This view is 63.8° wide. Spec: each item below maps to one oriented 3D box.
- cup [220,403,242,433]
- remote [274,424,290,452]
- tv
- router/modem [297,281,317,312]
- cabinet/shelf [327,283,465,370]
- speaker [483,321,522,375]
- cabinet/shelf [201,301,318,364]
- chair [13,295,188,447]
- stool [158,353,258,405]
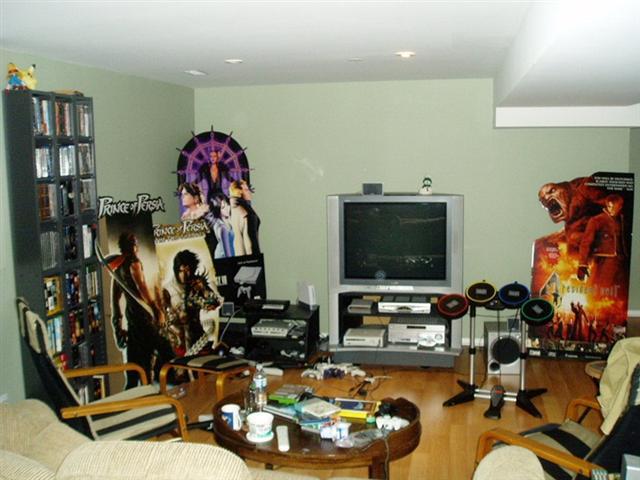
[{"bbox_3d":[-0.551,1.113,3.243,0.157,0.147,0.111,8,11,44],"label":"cup"},{"bbox_3d":[-0.217,1.201,3.087,0.090,0.084,0.147,-3,41,-6],"label":"remote"},{"bbox_3d":[0.682,0.030,5.520,1.360,0.926,0.758,1,0,-16],"label":"tv"},{"bbox_3d":[-0.140,0.620,5.534,0.116,0.273,0.302,2,-3,-32],"label":"router/modem"},{"bbox_3d":[0.897,0.601,5.500,1.428,0.875,0.812,0,1,12],"label":"cabinet/shelf"},{"bbox_3d":[1.869,1.041,5.327,0.316,0.458,0.617,-1,13,12],"label":"speaker"},{"bbox_3d":[-0.545,0.973,5.358,0.933,0.422,0.531,2,5,15],"label":"cabinet/shelf"},{"bbox_3d":[-1.530,1.128,3.740,1.012,1.293,0.977,1,0,-33],"label":"chair"},{"bbox_3d":[-0.943,1.153,4.608,0.654,0.325,0.480,4,11,18],"label":"stool"}]
